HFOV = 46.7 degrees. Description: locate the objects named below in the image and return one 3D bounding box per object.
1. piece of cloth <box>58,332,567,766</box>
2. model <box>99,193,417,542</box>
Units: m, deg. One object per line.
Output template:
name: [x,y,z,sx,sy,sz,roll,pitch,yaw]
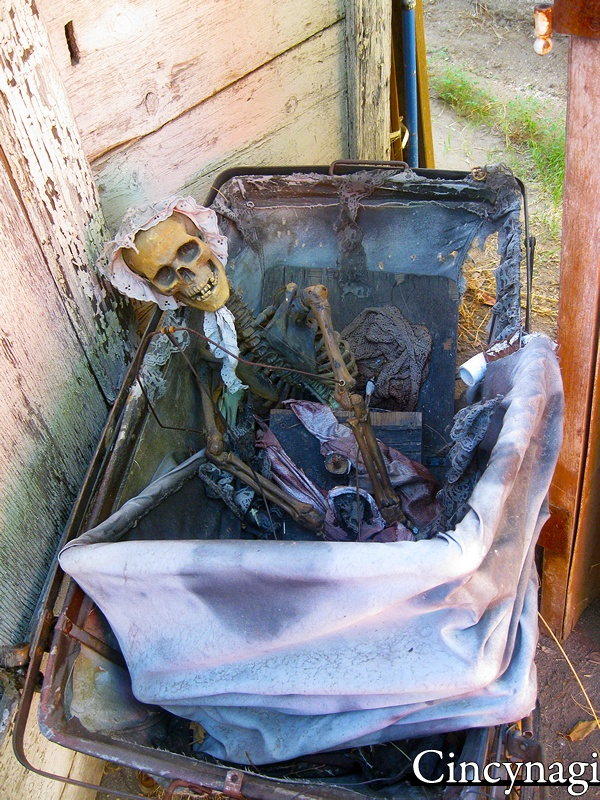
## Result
piece of cloth: [0.069,0.337,1.718,0.903,0.461,1.139,-8,15,10]
model: [-0.134,-0.032,1.994,0.643,1.141,0.282,-46,16,-28]
